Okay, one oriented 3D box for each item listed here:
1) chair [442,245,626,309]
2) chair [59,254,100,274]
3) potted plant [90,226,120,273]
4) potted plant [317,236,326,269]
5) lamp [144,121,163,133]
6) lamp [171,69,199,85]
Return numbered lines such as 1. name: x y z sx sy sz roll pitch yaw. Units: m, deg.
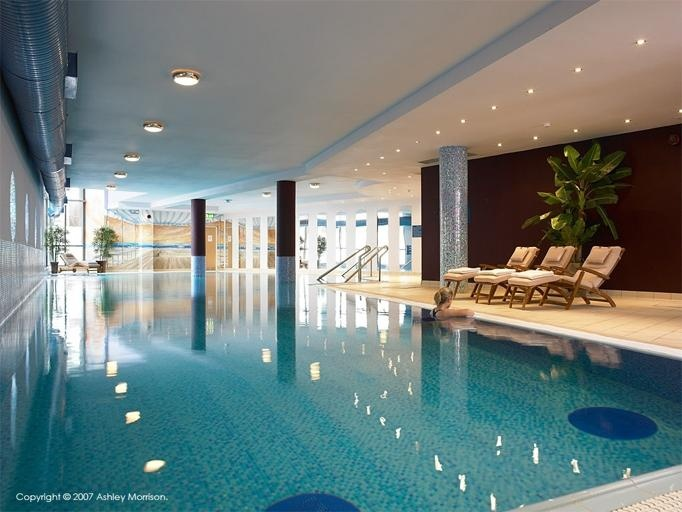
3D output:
1. chair: 4.277 0.413 8.441 2.698 1.271 2.164 -1 3 -24
2. chair: -14.387 0.393 21.259 1.986 0.995 1.207 -2 -2 31
3. potted plant: -13.497 -0.453 22.672 1.111 2.645 1.501 -2 4 -31
4. potted plant: -1.352 -0.350 25.122 0.477 2.039 0.702 -1 3 -5
5. lamp: -4.356 -3.005 9.173 0.267 0.086 0.253 0 1 -15
6. lamp: -2.583 -2.978 6.564 0.282 0.068 0.266 0 4 -6
